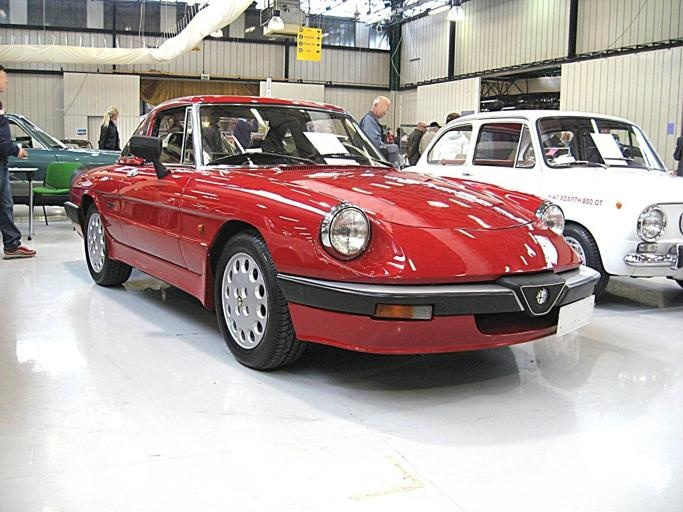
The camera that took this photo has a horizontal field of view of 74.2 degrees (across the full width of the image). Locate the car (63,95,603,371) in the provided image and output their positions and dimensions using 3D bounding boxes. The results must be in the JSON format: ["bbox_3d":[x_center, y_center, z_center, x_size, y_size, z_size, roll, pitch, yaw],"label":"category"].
[{"bbox_3d":[-0.210,-0.279,3.127,3.158,1.809,1.346,9,11,40],"label":"car"}]

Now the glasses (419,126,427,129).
[{"bbox_3d":[2.211,-3.516,12.353,0.175,0.073,0.211,0,10,-2],"label":"glasses"}]

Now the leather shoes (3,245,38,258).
[{"bbox_3d":[-4.130,-0.050,5.813,0.376,0.145,0.128,-5,17,-29],"label":"leather shoes"}]
